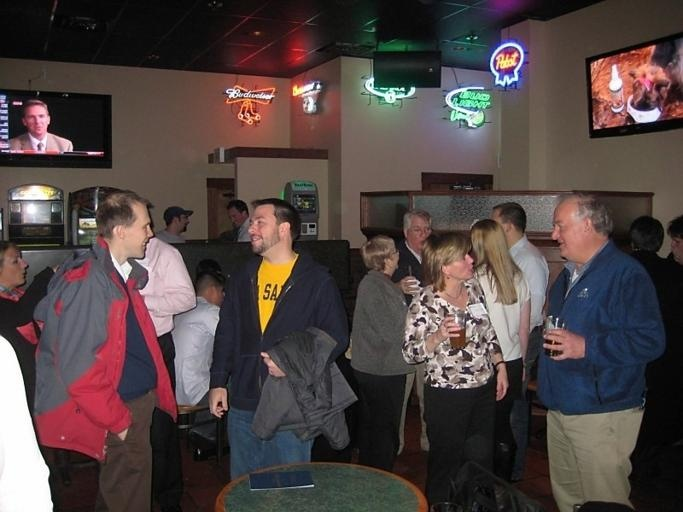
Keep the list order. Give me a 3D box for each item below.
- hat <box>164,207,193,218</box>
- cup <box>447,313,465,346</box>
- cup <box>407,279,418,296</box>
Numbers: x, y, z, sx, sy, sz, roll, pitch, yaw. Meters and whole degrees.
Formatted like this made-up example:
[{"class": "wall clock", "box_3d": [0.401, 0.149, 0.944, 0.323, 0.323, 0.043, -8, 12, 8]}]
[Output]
[{"class": "hat", "box_3d": [-2.047, -0.554, 7.681, 0.309, 0.118, 0.197, -6, 7, -26]}, {"class": "cup", "box_3d": [0.671, 0.444, 3.550, 0.101, 0.234, 0.091, -8, 10, -34]}, {"class": "cup", "box_3d": [0.544, 0.234, 4.587, 0.085, 0.137, 0.127, -1, 8, 7]}]
